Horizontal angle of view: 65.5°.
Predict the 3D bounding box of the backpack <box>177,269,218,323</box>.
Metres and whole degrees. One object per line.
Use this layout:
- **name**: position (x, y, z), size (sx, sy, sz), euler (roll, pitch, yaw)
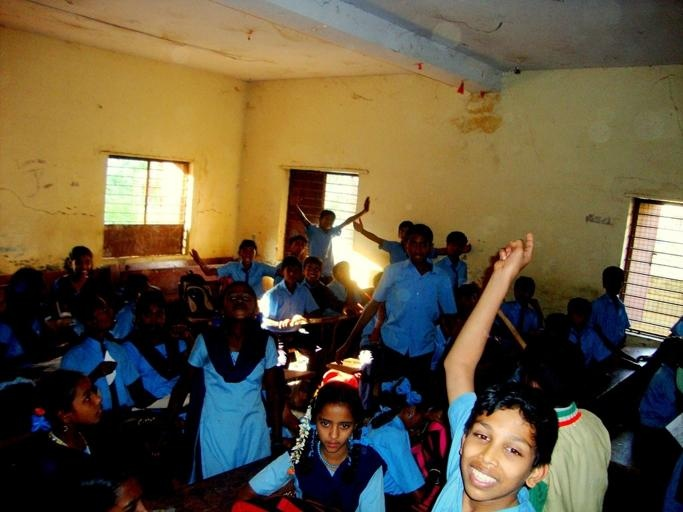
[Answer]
- **backpack**: position (-1.670, 0.496, 6.695), size (0.427, 0.680, 0.631), euler (-1, -10, -27)
